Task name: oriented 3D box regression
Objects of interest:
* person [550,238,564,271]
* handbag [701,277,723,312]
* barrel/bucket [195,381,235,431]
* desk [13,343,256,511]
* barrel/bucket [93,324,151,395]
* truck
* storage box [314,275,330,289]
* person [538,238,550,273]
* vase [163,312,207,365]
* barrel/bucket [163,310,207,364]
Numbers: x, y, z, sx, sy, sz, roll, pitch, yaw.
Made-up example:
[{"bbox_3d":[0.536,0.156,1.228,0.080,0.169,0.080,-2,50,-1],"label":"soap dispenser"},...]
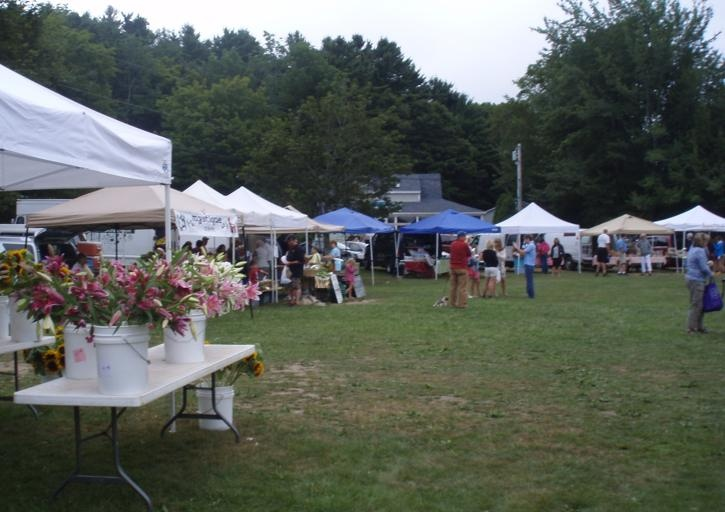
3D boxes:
[{"bbox_3d":[7.387,0.124,29.425,0.397,1.380,1.648,3,12,11],"label":"person"},{"bbox_3d":[6.279,0.771,13.808,0.291,0.586,0.496,1,12,4],"label":"handbag"},{"bbox_3d":[-1.749,1.831,9.377,0.566,0.491,0.550,0,1,0],"label":"barrel/bucket"},{"bbox_3d":[-2.429,1.731,8.311,1.486,1.424,2.240,7,13,27],"label":"desk"},{"bbox_3d":[-2.434,1.012,7.704,0.677,0.628,0.649,-1,1,0],"label":"barrel/bucket"},{"bbox_3d":[-8.907,-0.676,25.657,4.451,1.601,4.321,-2,3,-13],"label":"truck"},{"bbox_3d":[-1.057,0.698,20.201,0.386,0.338,0.349,1,-4,-3],"label":"storage box"},{"bbox_3d":[7.208,0.004,30.960,0.490,1.428,2.310,4,12,13],"label":"person"},{"bbox_3d":[-1.887,0.893,8.297,0.591,0.455,0.539,1,-4,-13],"label":"vase"},{"bbox_3d":[-1.877,0.871,8.244,0.575,0.453,0.563,0,-3,0],"label":"barrel/bucket"}]
